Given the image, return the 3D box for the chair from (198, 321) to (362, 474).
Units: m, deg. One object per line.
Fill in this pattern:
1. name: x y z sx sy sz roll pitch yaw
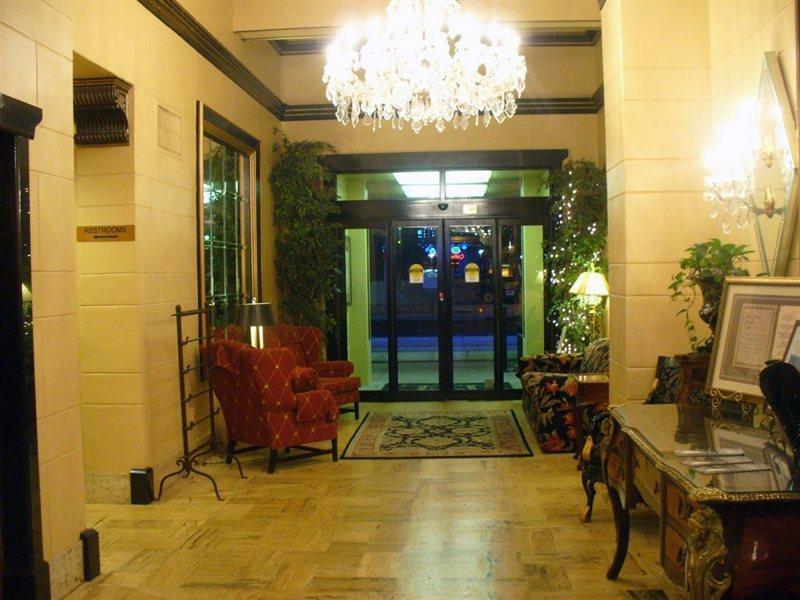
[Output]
1. chair: -1.179 0.877 6.005 1.264 1.246 1.279 -3 4 -44

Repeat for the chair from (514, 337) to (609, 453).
1. chair: 1.650 0.667 6.155 0.838 0.954 1.469 1 4 7
